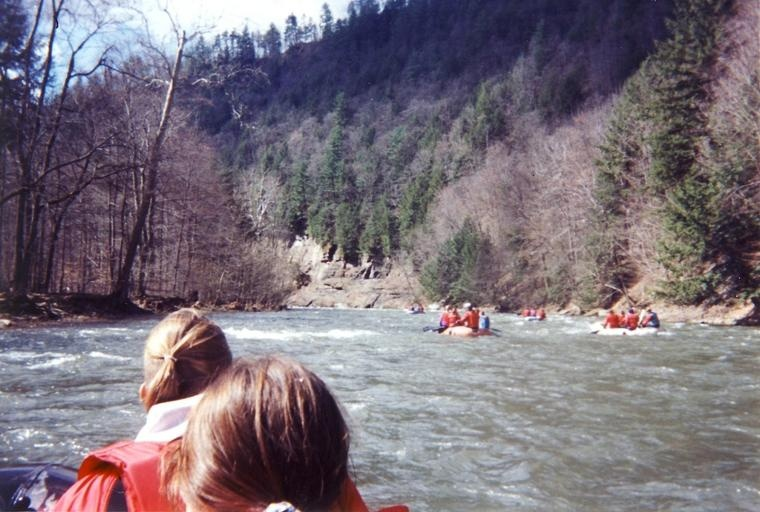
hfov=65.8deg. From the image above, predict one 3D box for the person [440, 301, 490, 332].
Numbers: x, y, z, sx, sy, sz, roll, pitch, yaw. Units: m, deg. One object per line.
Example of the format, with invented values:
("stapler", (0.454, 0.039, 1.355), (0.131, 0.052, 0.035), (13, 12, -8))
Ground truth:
("person", (4.004, 3.414, 28.447), (1.088, 1.394, 3.203), (1, -15, -10))
